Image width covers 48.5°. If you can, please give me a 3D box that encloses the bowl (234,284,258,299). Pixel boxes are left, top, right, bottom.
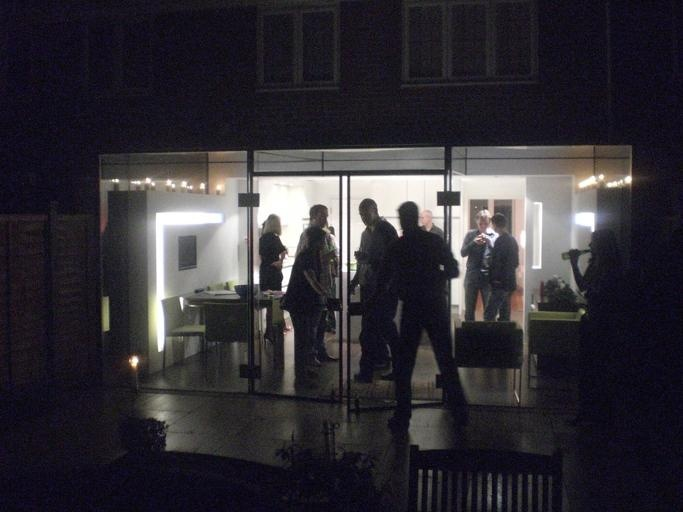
[{"bbox_3d":[-1.283,0.467,10.302,0.262,0.160,0.284,-1,-2,0],"label":"bowl"}]

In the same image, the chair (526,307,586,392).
[{"bbox_3d":[2.655,1.070,9.566,0.888,1.174,0.823,0,2,16],"label":"chair"}]

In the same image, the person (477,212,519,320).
[{"bbox_3d":[2.151,0.159,10.238,0.422,1.460,0.264,1,8,12],"label":"person"}]

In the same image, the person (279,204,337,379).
[{"bbox_3d":[-0.368,0.438,9.799,0.621,2.213,0.585,4,9,30],"label":"person"}]

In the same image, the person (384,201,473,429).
[{"bbox_3d":[0.932,0.510,8.440,0.775,2.473,0.745,-1,25,11],"label":"person"}]
